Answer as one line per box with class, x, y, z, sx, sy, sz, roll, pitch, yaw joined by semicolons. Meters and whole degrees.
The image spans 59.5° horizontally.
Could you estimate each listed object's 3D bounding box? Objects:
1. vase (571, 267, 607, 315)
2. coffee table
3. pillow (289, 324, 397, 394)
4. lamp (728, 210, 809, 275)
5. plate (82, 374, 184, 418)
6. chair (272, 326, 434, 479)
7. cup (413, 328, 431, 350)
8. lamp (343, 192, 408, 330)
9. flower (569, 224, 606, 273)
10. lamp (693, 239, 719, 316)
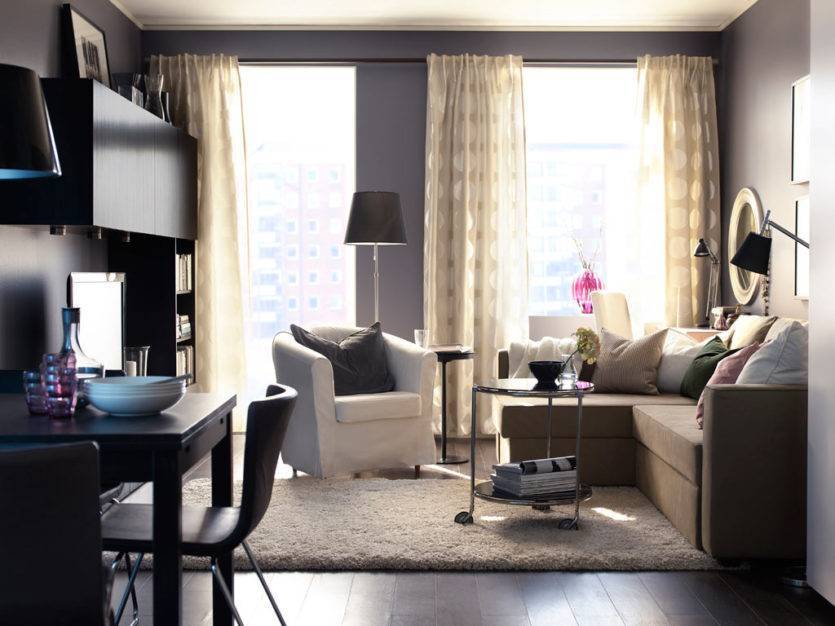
vase;1.355;-0.186;5.890;0.276;0.459;0.298;1;0;-17
coffee table;0.597;0.715;3.902;0.565;0.733;0.707;-6;-20;13
pillow;-0.485;0.321;4.784;0.360;0.379;0.148;-2;-30;-33
lamp;2.065;-0.360;4.135;0.180;0.380;0.589;5;11;-18
plate;-0.983;0.291;2.550;0.182;0.080;0.202;-1;-1;-1
chair;-0.437;0.587;4.965;0.956;0.953;0.798;-1;1;-37
cup;0.033;0.184;5.078;0.103;0.144;0.115;0;0;10
lamp;-0.308;-0.408;5.602;0.435;1.048;0.820;0;7;0
flower;1.432;-0.542;6.153;0.269;0.379;0.510;1;8;14
lamp;2.246;-0.248;5.671;0.183;0.664;0.667;2;8;21
